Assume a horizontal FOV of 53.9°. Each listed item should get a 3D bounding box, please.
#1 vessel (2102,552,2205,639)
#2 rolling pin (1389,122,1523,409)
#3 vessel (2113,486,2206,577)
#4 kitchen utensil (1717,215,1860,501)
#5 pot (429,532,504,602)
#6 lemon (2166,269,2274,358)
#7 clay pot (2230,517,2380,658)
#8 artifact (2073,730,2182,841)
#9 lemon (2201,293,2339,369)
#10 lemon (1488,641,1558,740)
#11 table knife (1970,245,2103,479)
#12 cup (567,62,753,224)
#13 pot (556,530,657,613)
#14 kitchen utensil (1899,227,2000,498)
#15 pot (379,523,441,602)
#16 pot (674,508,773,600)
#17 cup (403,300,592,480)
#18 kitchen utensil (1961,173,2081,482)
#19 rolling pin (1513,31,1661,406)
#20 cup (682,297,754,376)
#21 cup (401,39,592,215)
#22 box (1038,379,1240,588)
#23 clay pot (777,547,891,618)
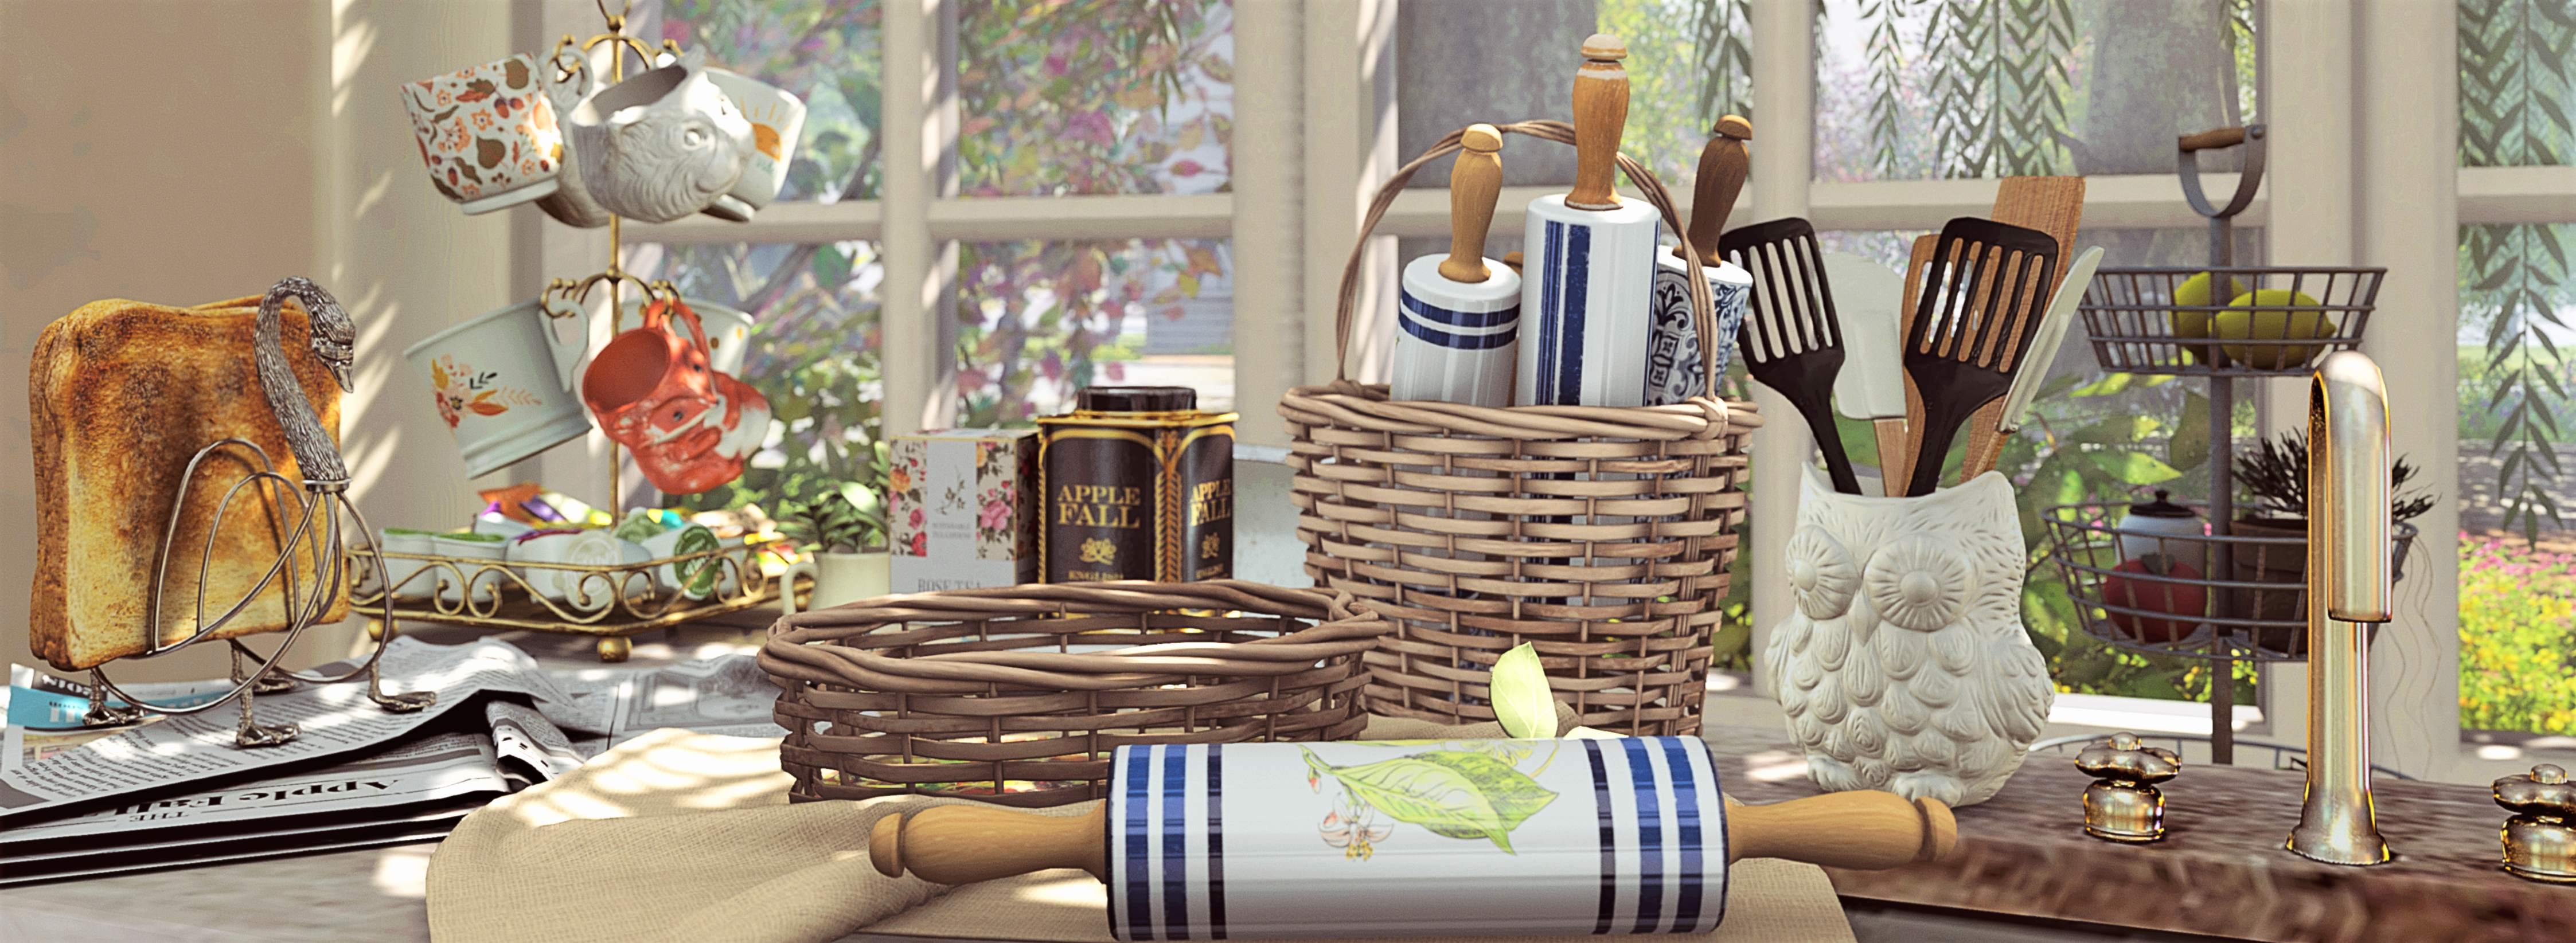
[{"bbox_3d":[1.453,0.216,4.264,0.158,0.111,0.154,0,0,-1],"label":"vessel"},{"bbox_3d":[0.294,-0.296,4.186,0.232,0.537,0.216,1,22,-5],"label":"rolling pin"},{"bbox_3d":[1.475,0.110,4.278,0.142,0.146,0.142,3,5,37],"label":"vessel"},{"bbox_3d":[0.810,-0.210,4.081,0.147,0.515,0.077,-14,-7,8],"label":"kitchen utensil"},{"bbox_3d":[-1.534,0.185,4.692,0.132,0.127,0.126,4,2,0],"label":"pot"},{"bbox_3d":[1.537,-0.264,4.219,0.153,0.105,0.155,4,7,44],"label":"lemon"},{"bbox_3d":[1.649,0.201,4.239,0.226,0.311,0.222,0,0,0],"label":"clay pot"},{"bbox_3d":[1.328,0.516,4.085,0.169,0.136,0.162,-2,3,-31],"label":"artifact"},{"bbox_3d":[1.634,-0.234,4.209,0.180,0.105,0.132,-2,4,3],"label":"lemon"},{"bbox_3d":[0.361,0.358,3.977,0.082,0.159,0.034,-6,-7,-2],"label":"lemon"},{"bbox_3d":[1.252,-0.193,4.243,0.057,0.457,0.083,29,1,40],"label":"table knife"},{"bbox_3d":[-1.171,-0.577,4.646,0.382,0.241,0.288,-12,8,-15],"label":"cup"},{"bbox_3d":[-1.275,0.190,4.682,0.161,0.058,0.133,-10,39,-24],"label":"pot"},{"bbox_3d":[1.062,-0.171,4.067,0.141,0.441,0.067,10,8,28],"label":"kitchen utensil"},{"bbox_3d":[-1.643,0.183,4.695,0.131,0.125,0.132,0,2,0],"label":"pot"},{"bbox_3d":[-1.110,0.182,4.798,0.166,0.141,0.152,3,7,0],"label":"pot"},{"bbox_3d":[-1.433,-0.157,4.734,0.281,0.246,0.340,-23,0,30],"label":"cup"},{"bbox_3d":[1.203,-0.251,4.151,0.154,0.546,0.062,12,3,35],"label":"kitchen utensil"},{"bbox_3d":[0.475,-0.404,4.142,0.238,0.507,0.164,-2,1,7],"label":"rolling pin"},{"bbox_3d":[-1.056,-0.253,4.726,0.140,0.097,0.137,1,6,0],"label":"cup"},{"bbox_3d":[-1.424,-0.618,4.657,0.375,0.276,0.249,-11,-10,15],"label":"cup"},{"bbox_3d":[-0.265,0.020,4.503,0.366,0.453,0.360,-1,-1,19],"label":"box"},{"bbox_3d":[-0.890,0.211,4.755,0.207,0.192,0.134,1,2,40],"label":"clay pot"}]
